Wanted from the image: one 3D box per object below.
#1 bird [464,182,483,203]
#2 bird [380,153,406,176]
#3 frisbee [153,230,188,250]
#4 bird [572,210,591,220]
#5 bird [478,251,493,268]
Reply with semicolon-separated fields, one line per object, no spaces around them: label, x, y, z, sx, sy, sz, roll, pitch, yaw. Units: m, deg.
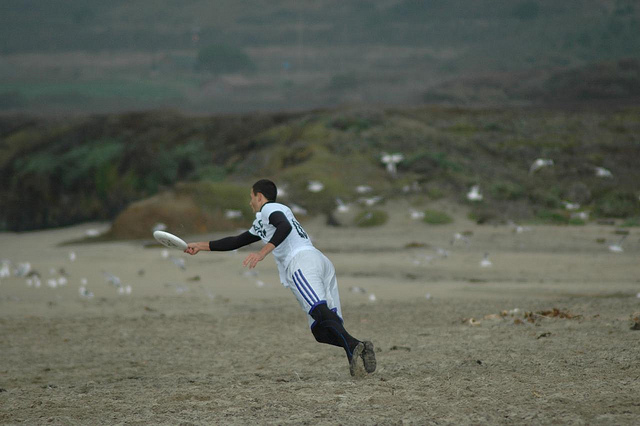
bird;1.985;-0.247;17.834;0.214;0.247;0.101;-8;10;-19
bird;0.953;-0.628;17.871;0.258;0.277;0.124;-6;-24;-22
frisbee;-1.658;0.323;15.411;0.270;0.068;0.264;18;-12;19
bird;3.376;0.052;17.828;0.227;0.104;0.037;-5;10;-7
bird;2.123;0.615;17.700;0.161;0.203;0.083;-3;10;10
